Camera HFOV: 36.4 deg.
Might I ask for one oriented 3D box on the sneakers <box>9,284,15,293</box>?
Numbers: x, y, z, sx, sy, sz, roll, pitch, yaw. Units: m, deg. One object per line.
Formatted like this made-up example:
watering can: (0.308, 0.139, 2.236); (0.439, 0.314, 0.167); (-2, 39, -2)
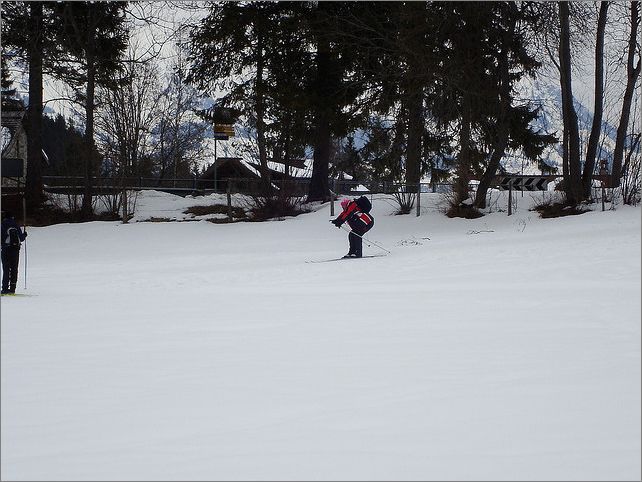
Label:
sneakers: (-6.448, 1.023, 20.267); (0.101, 0.172, 0.386); (-6, 10, -19)

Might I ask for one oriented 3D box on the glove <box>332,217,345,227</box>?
glove: (0.397, -0.410, 23.599); (0.336, 0.287, 0.632); (-3, 9, 1)

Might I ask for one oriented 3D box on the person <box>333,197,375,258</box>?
person: (0.856, -0.313, 23.689); (0.649, 1.449, 0.967); (3, 11, 35)
